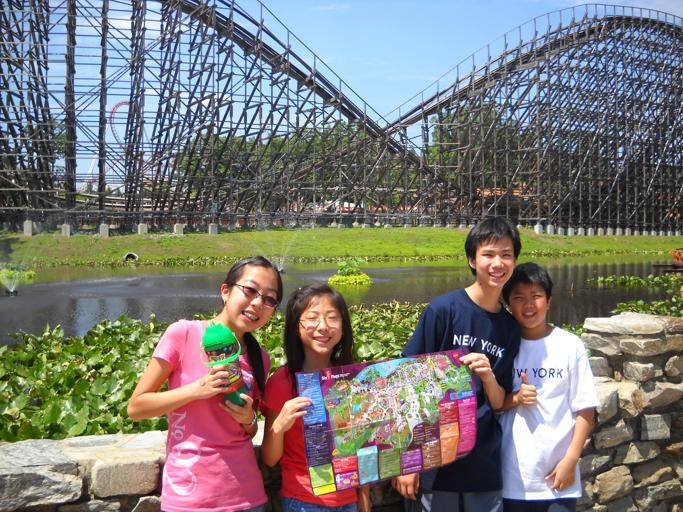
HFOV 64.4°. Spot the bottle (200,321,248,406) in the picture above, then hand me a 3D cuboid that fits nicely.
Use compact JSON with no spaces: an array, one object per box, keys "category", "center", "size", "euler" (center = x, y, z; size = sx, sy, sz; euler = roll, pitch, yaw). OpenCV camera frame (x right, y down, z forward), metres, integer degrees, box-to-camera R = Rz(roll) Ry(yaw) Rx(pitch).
[{"category":"bottle","center":[-0.593,0.561,2.781],"size":[0.210,0.432,0.166],"euler":[0,3,-7]}]

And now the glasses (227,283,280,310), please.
[{"category":"glasses","center":[-0.456,0.220,2.989],"size":[0.257,0.135,0.128],"euler":[0,3,-18]}]
